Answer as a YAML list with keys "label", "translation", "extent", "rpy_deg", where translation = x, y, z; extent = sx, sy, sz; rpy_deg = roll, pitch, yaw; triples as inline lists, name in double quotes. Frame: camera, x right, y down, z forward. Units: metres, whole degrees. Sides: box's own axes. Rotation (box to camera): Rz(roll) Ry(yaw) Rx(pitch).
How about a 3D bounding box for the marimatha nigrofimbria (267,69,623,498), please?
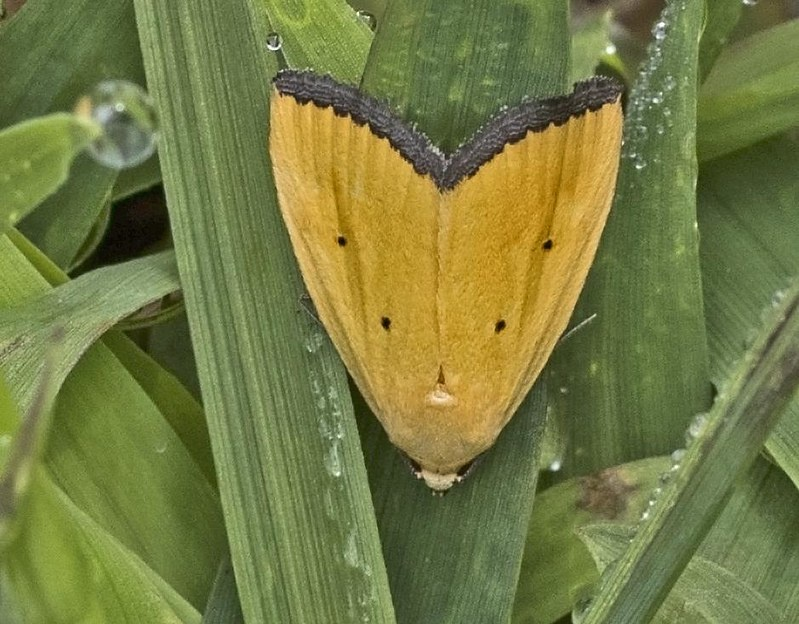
- label: "marimatha nigrofimbria"
  translation: [0.036, -0.057, 0.963]
  extent: [0.283, 0.351, 0.100]
  rpy_deg: [1, 13, -1]
